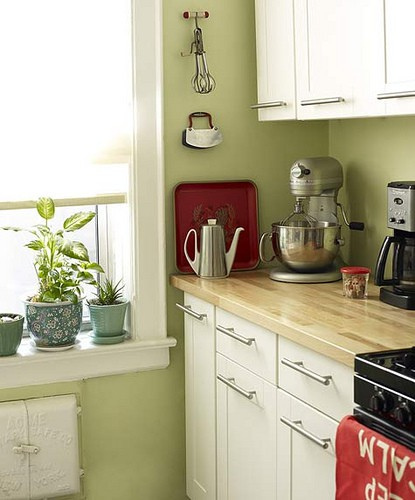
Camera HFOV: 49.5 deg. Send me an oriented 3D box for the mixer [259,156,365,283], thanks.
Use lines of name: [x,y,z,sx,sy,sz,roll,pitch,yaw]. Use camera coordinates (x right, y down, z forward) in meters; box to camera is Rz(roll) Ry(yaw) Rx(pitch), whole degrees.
mixer: [0.400,-0.129,1.737,0.448,0.458,0.284,-8,12,-36]

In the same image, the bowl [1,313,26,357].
bowl: [-0.669,0.306,1.623,0.117,0.126,0.117,1,7,0]

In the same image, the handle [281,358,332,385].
handle: [0.212,0.265,0.982,0.038,0.025,0.052,-8,12,-28]

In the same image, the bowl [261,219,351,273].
bowl: [0.361,-0.020,1.663,0.289,0.144,0.217,-3,5,-10]
